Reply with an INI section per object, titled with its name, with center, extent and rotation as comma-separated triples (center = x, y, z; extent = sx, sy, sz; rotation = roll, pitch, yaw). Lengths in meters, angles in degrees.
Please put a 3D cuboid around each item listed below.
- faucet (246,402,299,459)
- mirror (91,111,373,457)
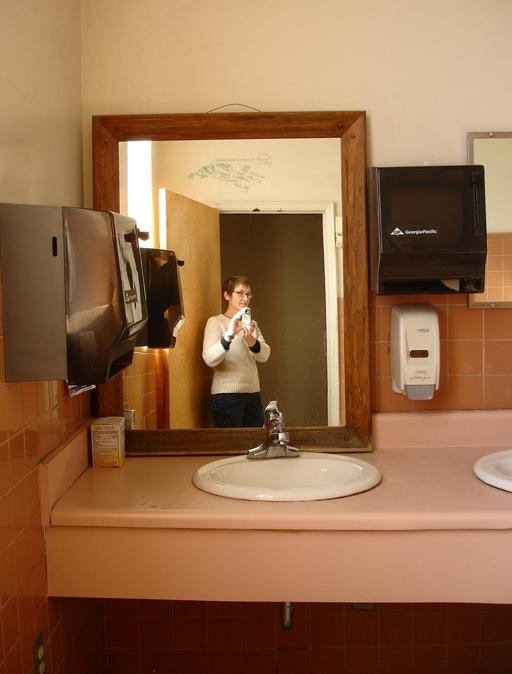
[faucet]
center = 0.048, 0.256, 1.657
extent = 0.125, 0.175, 0.162
rotation = 0, -6, -3
[mirror]
center = -0.053, -0.181, 1.680
extent = 0.756, 1.302, 0.059
rotation = -1, -2, -4
